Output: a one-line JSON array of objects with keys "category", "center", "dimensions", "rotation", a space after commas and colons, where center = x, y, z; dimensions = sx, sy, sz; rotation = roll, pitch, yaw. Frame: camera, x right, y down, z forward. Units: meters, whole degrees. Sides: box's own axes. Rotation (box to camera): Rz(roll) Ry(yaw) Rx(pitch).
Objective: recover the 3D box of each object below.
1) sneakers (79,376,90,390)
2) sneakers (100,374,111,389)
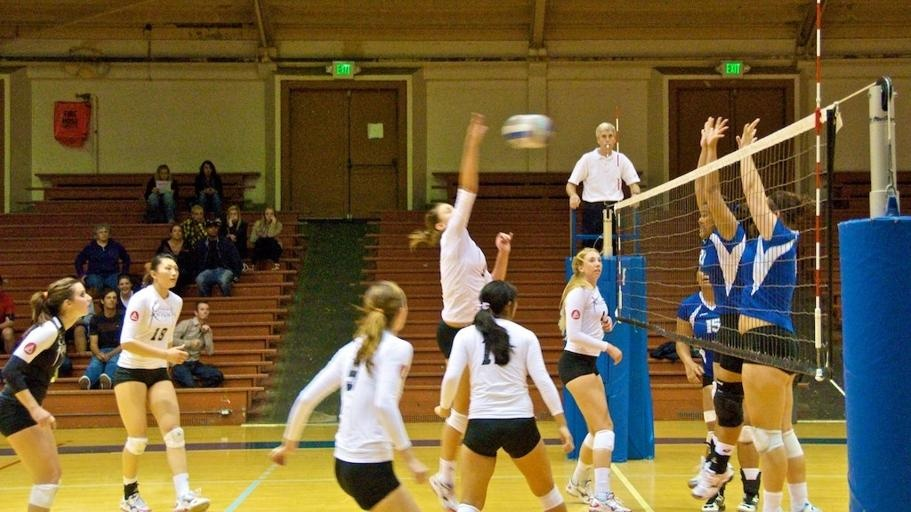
[{"category": "sneakers", "center": [-7.459, 2.532, 19.677], "dimensions": [0.124, 0.311, 0.128], "rotation": [2, 13, -12]}, {"category": "sneakers", "center": [-7.058, 2.508, 19.723], "dimensions": [0.227, 0.299, 0.195], "rotation": [1, 2, -8]}]
